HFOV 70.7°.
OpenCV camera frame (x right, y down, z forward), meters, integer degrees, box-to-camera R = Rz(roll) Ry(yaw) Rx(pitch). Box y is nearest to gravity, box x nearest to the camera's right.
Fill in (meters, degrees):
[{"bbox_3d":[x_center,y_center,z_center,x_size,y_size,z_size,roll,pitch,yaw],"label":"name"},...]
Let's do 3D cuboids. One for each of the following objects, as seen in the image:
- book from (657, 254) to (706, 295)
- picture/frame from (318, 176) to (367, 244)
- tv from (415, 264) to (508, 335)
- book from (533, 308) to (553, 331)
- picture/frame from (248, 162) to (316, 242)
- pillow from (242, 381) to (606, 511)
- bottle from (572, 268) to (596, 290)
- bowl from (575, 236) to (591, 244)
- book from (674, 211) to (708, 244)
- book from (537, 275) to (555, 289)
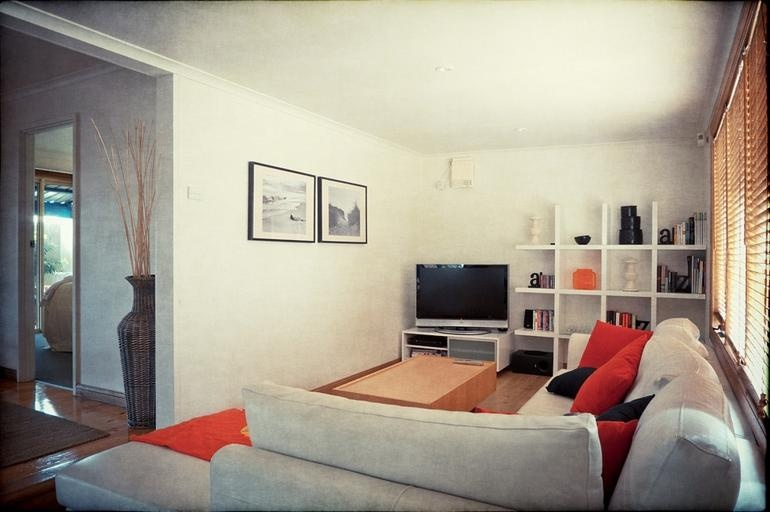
[{"bbox_3d":[3.221,0.217,5.863,0.467,0.386,0.199,-3,-8,42],"label":"book"},{"bbox_3d":[-0.482,-0.498,5.849,0.088,0.561,0.857,-3,-4,32],"label":"picture/frame"},{"bbox_3d":[0.985,0.528,6.634,1.007,0.599,0.124,0,-1,11],"label":"tv"},{"bbox_3d":[1.876,0.749,6.467,0.240,0.268,0.309,4,-5,-32],"label":"book"},{"bbox_3d":[-1.001,-0.513,5.138,0.071,0.665,0.910,-2,-5,37],"label":"picture/frame"},{"bbox_3d":[0.154,0.861,2.444,1.541,0.411,0.189,0,1,16],"label":"pillow"},{"bbox_3d":[2.311,0.273,6.275,0.267,0.223,0.087,1,3,35],"label":"bottle"},{"bbox_3d":[2.313,-0.188,6.343,0.177,0.111,0.251,0,0,18],"label":"bowl"},{"bbox_3d":[3.260,-0.257,5.862,0.358,0.397,0.455,0,-1,14],"label":"book"},{"bbox_3d":[1.924,0.305,6.444,0.159,0.186,0.214,0,3,-45],"label":"book"}]
